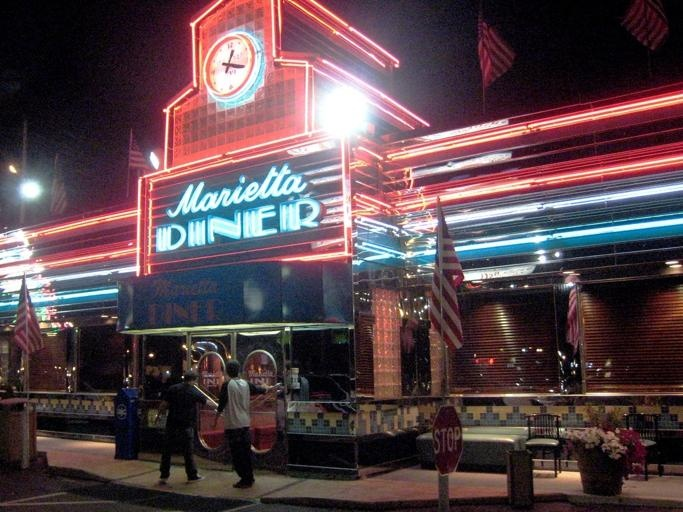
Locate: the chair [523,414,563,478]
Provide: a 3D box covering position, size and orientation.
[{"bbox_3d":[3.769,3.507,12.738,0.632,1.019,0.701,-5,-8,30],"label":"chair"}]

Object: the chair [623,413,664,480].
[{"bbox_3d":[5.464,3.458,12.319,0.616,1.071,0.703,2,-2,42],"label":"chair"}]

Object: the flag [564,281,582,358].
[{"bbox_3d":[4.546,1.215,13.387,0.294,1.355,0.204,-4,-12,17],"label":"flag"}]

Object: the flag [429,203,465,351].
[{"bbox_3d":[1.565,0.243,10.287,0.492,2.269,0.832,-3,-12,10],"label":"flag"}]

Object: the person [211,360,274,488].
[{"bbox_3d":[-1.979,3.113,12.968,0.930,2.300,0.795,1,-3,-9],"label":"person"}]

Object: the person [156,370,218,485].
[{"bbox_3d":[-3.056,3.379,13.715,1.067,2.006,0.996,-1,-9,8],"label":"person"}]

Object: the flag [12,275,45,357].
[{"bbox_3d":[-7.601,1.460,16.512,0.733,1.853,0.597,-2,-4,41],"label":"flag"}]

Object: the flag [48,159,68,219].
[{"bbox_3d":[-10.355,-2.607,24.900,0.485,2.466,1.075,4,-13,-20],"label":"flag"}]
